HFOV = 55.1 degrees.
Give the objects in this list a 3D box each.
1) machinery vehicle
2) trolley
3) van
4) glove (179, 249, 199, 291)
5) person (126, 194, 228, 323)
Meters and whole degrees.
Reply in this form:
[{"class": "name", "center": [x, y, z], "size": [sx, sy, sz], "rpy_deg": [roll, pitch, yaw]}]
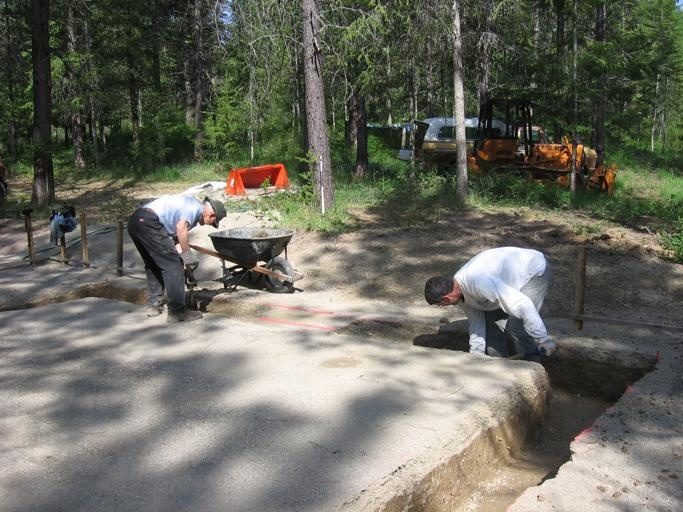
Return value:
[{"class": "machinery vehicle", "center": [6.041, -3.328, 19.880], "size": [4.315, 2.523, 1.894], "rpy_deg": [8, 12, 19]}, {"class": "trolley", "center": [-1.776, 0.068, 11.245], "size": [1.909, 0.851, 0.950], "rpy_deg": [4, 11, 32]}, {"class": "van", "center": [4.875, -3.565, 21.497], "size": [4.684, 1.895, 1.709], "rpy_deg": [-3, 19, 1]}, {"class": "glove", "center": [-2.331, 0.186, 10.032], "size": [0.204, 0.456, 0.610], "rpy_deg": [-1, 28, -9]}, {"class": "person", "center": [-2.445, 0.013, 9.607], "size": [0.994, 1.777, 0.883], "rpy_deg": [2, 12, 18]}]
